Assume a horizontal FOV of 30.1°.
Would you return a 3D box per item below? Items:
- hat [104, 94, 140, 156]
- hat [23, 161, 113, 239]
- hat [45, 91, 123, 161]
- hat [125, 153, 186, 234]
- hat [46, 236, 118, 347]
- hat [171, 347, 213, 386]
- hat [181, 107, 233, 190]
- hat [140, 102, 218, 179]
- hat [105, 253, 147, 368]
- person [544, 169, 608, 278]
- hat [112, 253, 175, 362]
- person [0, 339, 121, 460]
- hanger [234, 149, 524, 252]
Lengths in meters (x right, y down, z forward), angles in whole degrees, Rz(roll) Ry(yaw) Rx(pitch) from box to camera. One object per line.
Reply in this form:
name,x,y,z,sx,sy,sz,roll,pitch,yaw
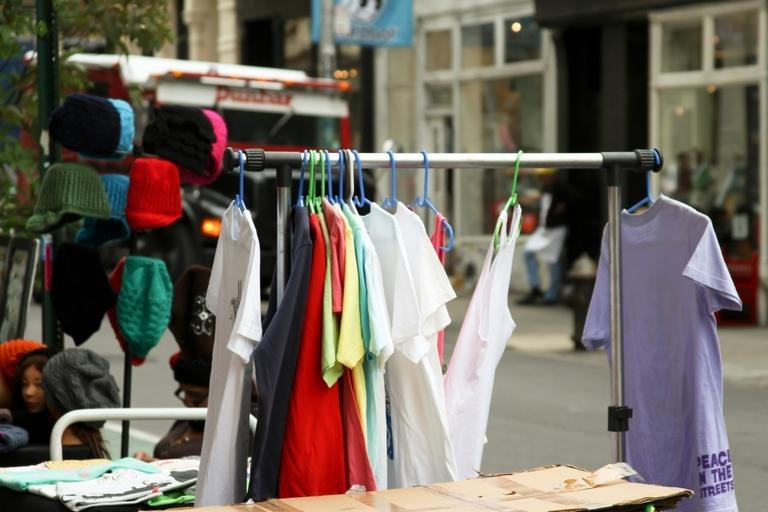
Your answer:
hat,-1.520,-0.758,8.281,0.088,0.317,0.211,0,-4,-1
hat,-1.870,-0.330,8.382,0.484,0.449,0.401,-6,-10,-26
hat,-1.717,-0.742,8.185,0.393,0.363,0.157,-3,5,-13
hat,-1.334,-0.344,8.313,0.313,0.473,0.257,5,-8,-43
hat,-1.811,0.216,8.486,0.407,0.531,0.114,-6,12,1
hat,-1.227,0.700,8.925,0.138,0.216,0.392,-5,6,-36
hat,-0.954,-0.655,8.429,0.288,0.477,0.435,-4,-10,16
hat,-1.171,-0.672,8.255,0.315,0.345,0.403,22,-8,-27
hat,-1.583,0.335,8.700,0.349,0.582,0.176,6,-6,-1
person,2.244,-0.384,16.731,0.633,1.230,0.576,-1,5,10
hat,-1.470,0.294,8.544,0.394,0.628,0.145,-3,9,-34
person,-1.906,0.848,8.550,0.559,0.791,0.633,1,-3,-14
hanger,0.045,-0.235,7.907,1.824,0.747,0.265,-3,5,-14
